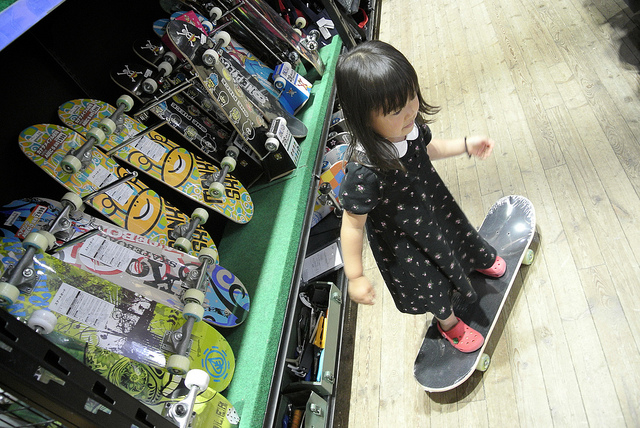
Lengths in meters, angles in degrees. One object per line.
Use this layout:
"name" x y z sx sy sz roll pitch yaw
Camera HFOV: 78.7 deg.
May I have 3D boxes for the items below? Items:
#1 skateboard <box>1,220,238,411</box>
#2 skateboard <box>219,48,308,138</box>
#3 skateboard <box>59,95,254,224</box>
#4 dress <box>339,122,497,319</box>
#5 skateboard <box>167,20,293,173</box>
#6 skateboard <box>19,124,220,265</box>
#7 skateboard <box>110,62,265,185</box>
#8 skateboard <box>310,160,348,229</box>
"skateboard" -0.898 0.464 1.717 0.157 1.120 0.312 -39 25 36
"skateboard" -0.403 -0.838 2.737 0.118 0.879 0.213 -31 13 35
"skateboard" -0.998 -0.324 2.311 0.142 1.083 0.269 -40 21 43
"dress" 0.498 0.084 1.966 0.472 1.031 0.576 20 68 41
"skateboard" -0.562 -0.721 2.488 0.311 1.292 0.182 4 57 32
"skateboard" -1.119 -0.100 2.116 0.141 1.020 0.272 -34 22 38
"skateboard" -0.863 -0.574 2.436 0.143 1.057 0.281 -27 27 44
"skateboard" 0.030 -0.104 2.774 0.151 0.081 0.601 41 117 19
